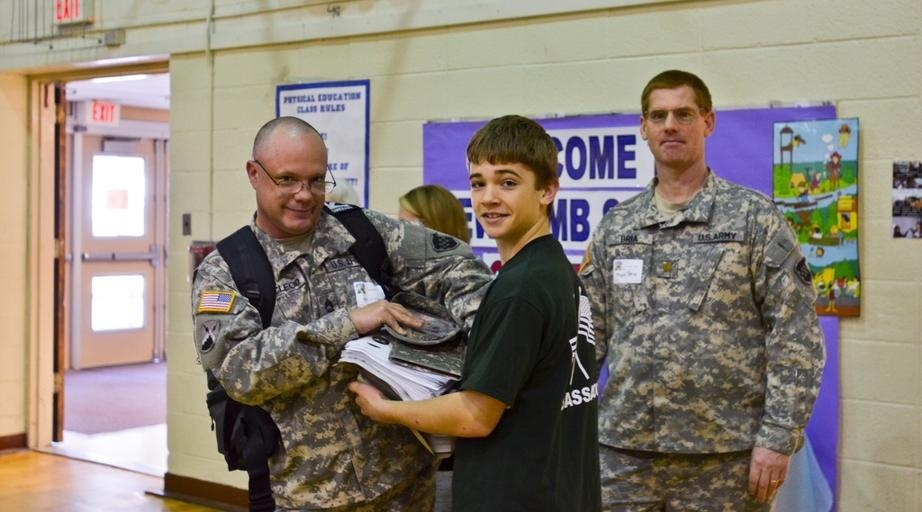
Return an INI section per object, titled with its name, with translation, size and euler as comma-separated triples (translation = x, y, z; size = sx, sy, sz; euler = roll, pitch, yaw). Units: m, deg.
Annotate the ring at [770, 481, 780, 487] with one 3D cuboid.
[ring]
translation = 1.742, 1.265, 4.693
size = 0.041, 0.035, 0.011
euler = -3, -4, 0
